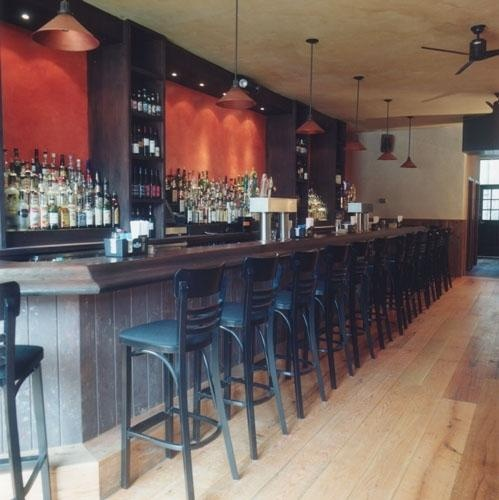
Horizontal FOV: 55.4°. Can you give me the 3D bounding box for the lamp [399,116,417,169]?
[{"bbox_3d":[2.941,-1.984,8.694,0.260,0.985,1.607,2,6,19],"label":"lamp"}]
